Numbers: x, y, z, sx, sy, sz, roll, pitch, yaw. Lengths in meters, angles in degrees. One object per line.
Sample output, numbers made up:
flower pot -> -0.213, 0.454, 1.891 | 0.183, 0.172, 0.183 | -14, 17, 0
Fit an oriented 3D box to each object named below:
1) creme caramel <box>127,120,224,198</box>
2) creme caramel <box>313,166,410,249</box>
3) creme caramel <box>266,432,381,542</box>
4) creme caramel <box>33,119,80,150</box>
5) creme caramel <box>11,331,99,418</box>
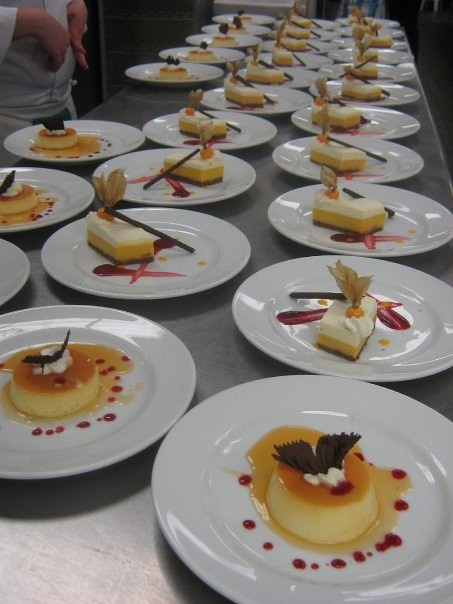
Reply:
creme caramel -> -0.135, -0.441, 1.759 | 0.302, 0.203, 0.189 | -31, 54, -27
creme caramel -> 0.315, -0.257, 1.508 | 0.153, 0.151, 0.231 | -34, 49, -31
creme caramel -> 0.115, 0.231, 0.728 | 0.144, 0.082, 0.125 | -3, 25, -2
creme caramel -> -0.590, -0.557, 1.926 | 0.157, 0.079, 0.129 | 1, 26, -1
creme caramel -> -0.259, 0.127, 0.911 | 0.148, 0.090, 0.131 | 12, 30, 2
